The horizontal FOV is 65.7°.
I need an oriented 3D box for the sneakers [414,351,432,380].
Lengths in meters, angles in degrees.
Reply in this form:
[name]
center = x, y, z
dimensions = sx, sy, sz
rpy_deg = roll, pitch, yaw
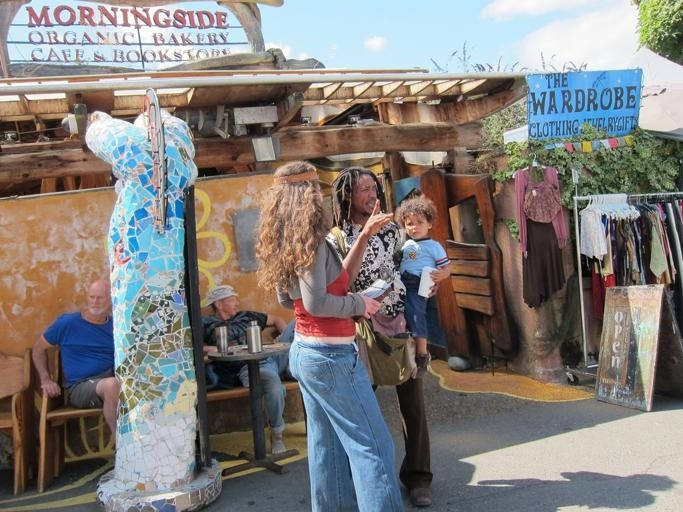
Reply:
[sneakers]
center = 0.649, 0.896, 4.268
dimensions = 0.187, 0.189, 0.148
rpy_deg = 2, -4, -9

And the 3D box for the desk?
[desk]
center = -0.884, 1.558, 5.742
dimensions = 1.275, 1.280, 1.203
rpy_deg = -1, 6, -3

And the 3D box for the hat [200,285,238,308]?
[hat]
center = -1.390, 0.479, 6.178
dimensions = 0.293, 0.112, 0.228
rpy_deg = -8, -4, -25

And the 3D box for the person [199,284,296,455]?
[person]
center = -0.996, 1.181, 6.138
dimensions = 1.305, 1.660, 1.097
rpy_deg = 0, 8, 4
